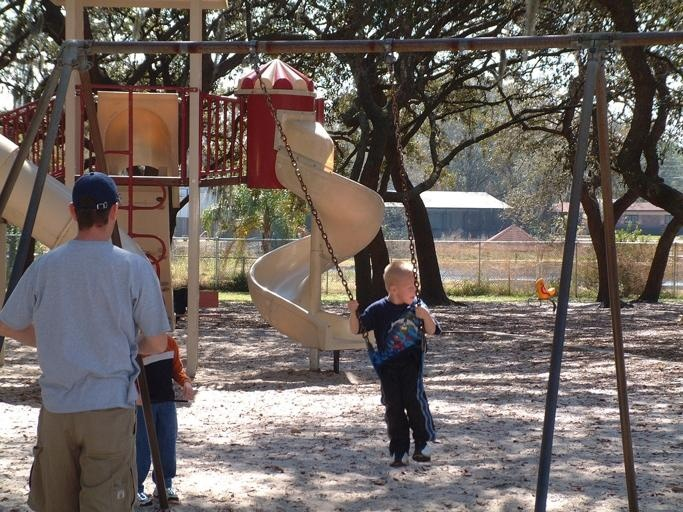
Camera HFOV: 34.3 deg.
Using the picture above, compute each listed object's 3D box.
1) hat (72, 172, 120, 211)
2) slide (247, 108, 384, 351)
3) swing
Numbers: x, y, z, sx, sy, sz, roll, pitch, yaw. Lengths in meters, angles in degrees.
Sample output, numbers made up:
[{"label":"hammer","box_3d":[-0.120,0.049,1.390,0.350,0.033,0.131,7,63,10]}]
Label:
[{"label":"hat","box_3d":[-1.982,-0.531,9.171,0.387,0.310,0.570,-9,3,20]},{"label":"slide","box_3d":[-0.446,-0.308,15.580,1.389,4.136,1.703,-4,8,-30]},{"label":"swing","box_3d":[0.188,-0.736,12.542,1.740,5.589,2.034,-1,7,-20]}]
